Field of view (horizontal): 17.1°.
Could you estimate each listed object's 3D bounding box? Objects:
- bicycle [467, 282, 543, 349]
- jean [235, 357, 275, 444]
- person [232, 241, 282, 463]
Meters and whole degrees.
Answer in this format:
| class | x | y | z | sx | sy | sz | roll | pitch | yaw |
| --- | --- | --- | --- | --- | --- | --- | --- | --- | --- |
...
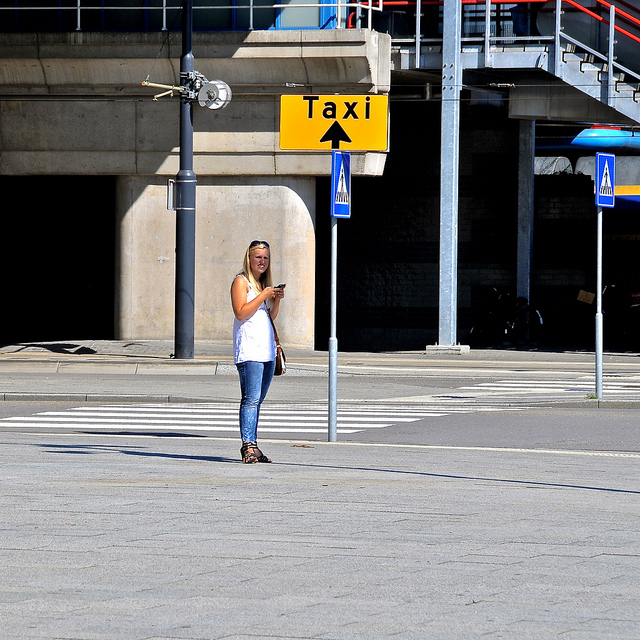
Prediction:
| class | x | y | z | sx | sy | sz | roll | pitch | yaw |
| --- | --- | --- | --- | --- | --- | --- | --- | --- | --- |
| bicycle | 4.095 | 0.092 | 45.873 | 1.102 | 1.746 | 0.563 | 10 | 2 | 38 |
| jean | -0.709 | 0.914 | 23.773 | 0.425 | 0.957 | 0.348 | 0 | 2 | 0 |
| person | -0.708 | 0.362 | 23.727 | 0.542 | 2.514 | 0.494 | -1 | 2 | -28 |
